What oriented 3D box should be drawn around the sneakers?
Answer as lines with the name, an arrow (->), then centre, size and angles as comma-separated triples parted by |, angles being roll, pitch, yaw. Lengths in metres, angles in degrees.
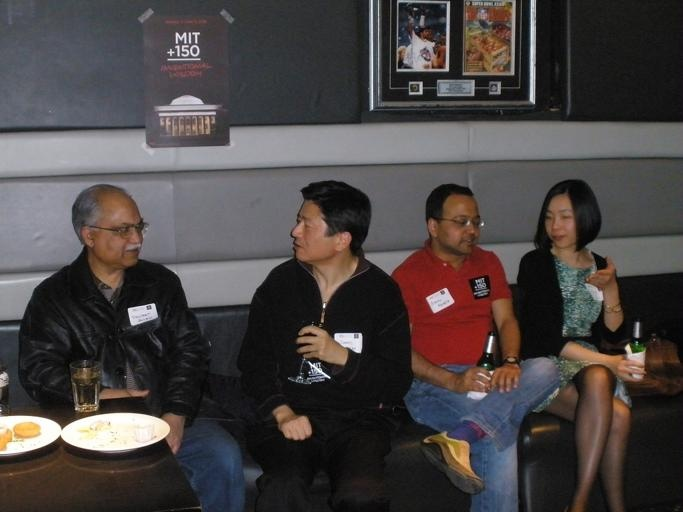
sneakers -> 0.463, 0.803, 2.252 | 0.137, 0.106, 0.274 | -46, 46, -10

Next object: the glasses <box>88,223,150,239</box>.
glasses -> -0.940, -0.112, 2.370 | 0.243, 0.056, 0.132 | -8, 11, -32

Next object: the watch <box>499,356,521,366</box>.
watch -> 0.771, 0.493, 2.573 | 0.067, 0.043, 0.062 | -14, -18, 21

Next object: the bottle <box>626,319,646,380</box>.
bottle -> 1.371, 0.434, 2.616 | 0.079, 0.289, 0.179 | 2, 11, 27

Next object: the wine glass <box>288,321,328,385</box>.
wine glass -> -0.152, 0.460, 2.380 | 0.109, 0.129, 0.129 | -6, 13, -39
